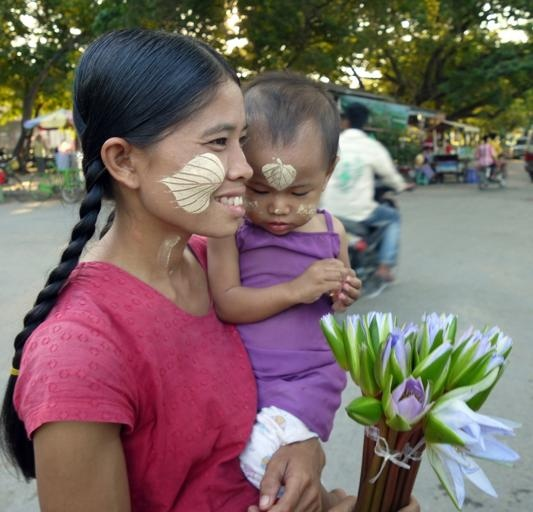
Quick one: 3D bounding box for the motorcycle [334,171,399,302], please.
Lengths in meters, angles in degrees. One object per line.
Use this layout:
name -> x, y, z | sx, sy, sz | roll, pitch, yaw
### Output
motorcycle -> 0.870, -0.126, 4.627 | 0.531, 0.656, 0.995 | 1, 20, 27
